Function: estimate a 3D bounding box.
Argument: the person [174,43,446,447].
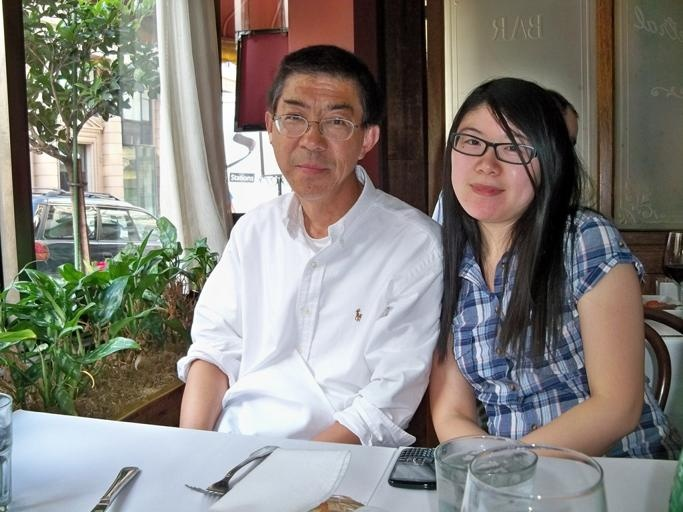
[{"bbox_3d":[-0.083,0.042,1.615,0.765,1.268,0.700,3,-1,-5],"label":"person"}]

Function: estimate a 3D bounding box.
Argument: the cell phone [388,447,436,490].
[{"bbox_3d":[0.125,0.382,1.005,0.082,0.049,0.095,-2,1,6],"label":"cell phone"}]

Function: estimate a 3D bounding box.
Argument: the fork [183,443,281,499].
[{"bbox_3d":[-0.195,0.386,0.989,0.026,0.027,0.168,3,11,33],"label":"fork"}]
